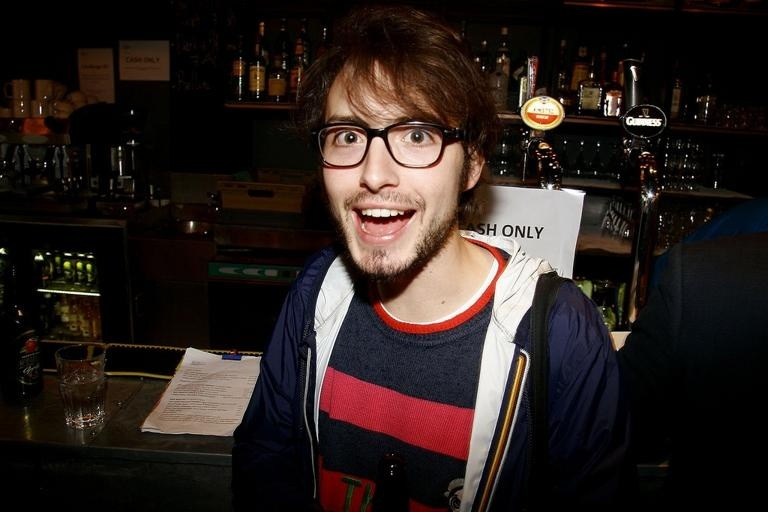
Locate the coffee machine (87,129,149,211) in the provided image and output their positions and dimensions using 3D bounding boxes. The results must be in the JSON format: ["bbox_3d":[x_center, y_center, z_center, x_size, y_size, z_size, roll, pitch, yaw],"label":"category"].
[{"bbox_3d":[-1.779,-0.568,4.174,0.386,0.555,0.377,-1,9,-23],"label":"coffee machine"}]

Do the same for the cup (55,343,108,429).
[{"bbox_3d":[-1.182,0.505,2.421,0.170,0.281,0.204,-2,9,-27],"label":"cup"}]

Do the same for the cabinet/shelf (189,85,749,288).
[{"bbox_3d":[0.514,-0.325,3.072,1.544,0.763,0.397,0,13,2],"label":"cabinet/shelf"}]

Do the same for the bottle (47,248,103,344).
[{"bbox_3d":[-2.085,0.271,4.150,0.340,0.582,0.197,0,9,-18],"label":"bottle"}]
